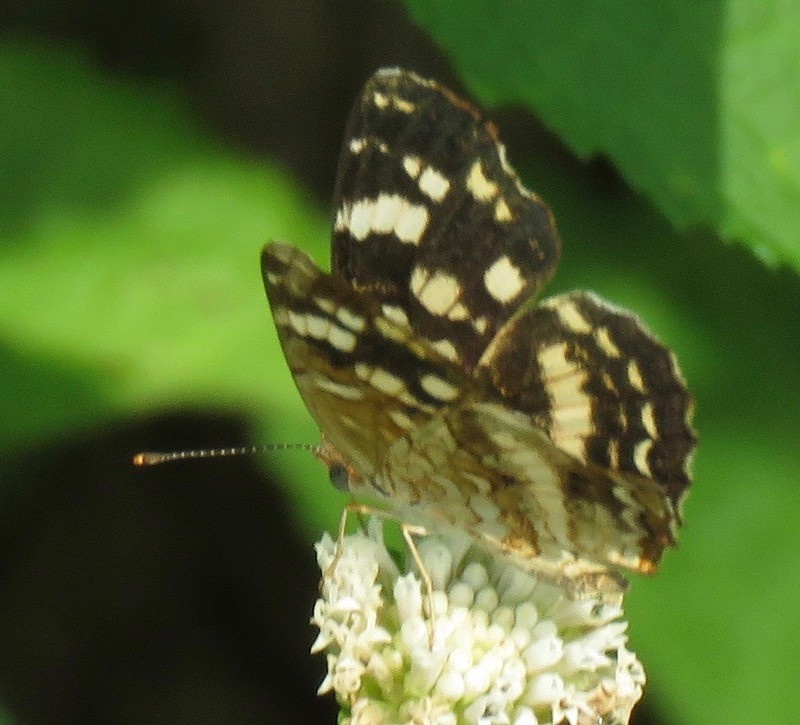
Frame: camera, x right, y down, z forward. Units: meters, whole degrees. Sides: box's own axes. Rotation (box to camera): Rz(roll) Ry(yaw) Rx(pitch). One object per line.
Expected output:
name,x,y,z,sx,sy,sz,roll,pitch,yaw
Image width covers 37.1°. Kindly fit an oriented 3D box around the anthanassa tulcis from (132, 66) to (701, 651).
anthanassa tulcis,0.088,0.009,1.414,0.577,0.532,0.246,31,58,26
